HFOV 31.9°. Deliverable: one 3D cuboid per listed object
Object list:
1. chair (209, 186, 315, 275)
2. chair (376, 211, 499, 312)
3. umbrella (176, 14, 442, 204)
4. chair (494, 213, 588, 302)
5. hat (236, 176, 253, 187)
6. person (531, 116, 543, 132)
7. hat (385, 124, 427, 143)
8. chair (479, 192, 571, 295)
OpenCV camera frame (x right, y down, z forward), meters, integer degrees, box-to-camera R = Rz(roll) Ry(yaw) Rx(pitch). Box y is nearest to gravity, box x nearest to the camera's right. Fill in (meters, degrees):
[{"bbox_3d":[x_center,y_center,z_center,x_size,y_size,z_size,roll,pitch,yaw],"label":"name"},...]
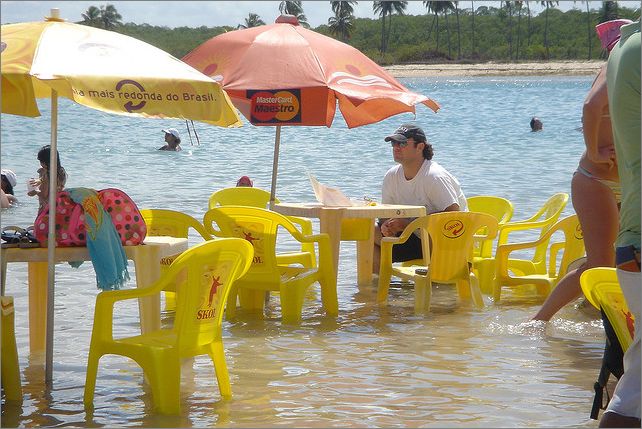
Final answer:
[{"bbox_3d":[-0.366,0.163,12.518,1.079,1.230,1.041,-2,2,-45],"label":"chair"},{"bbox_3d":[1.129,0.494,10.871,1.308,0.885,1.233,2,3,-5],"label":"chair"},{"bbox_3d":[-0.044,-1.004,11.576,2.465,1.419,2.204,6,-9,-30],"label":"umbrella"},{"bbox_3d":[2.233,0.498,11.769,0.976,1.004,0.824,-4,13,4],"label":"chair"},{"bbox_3d":[-0.939,-0.417,13.815,0.156,0.173,0.185,3,-25,-2],"label":"hat"},{"bbox_3d":[6.977,-2.720,35.989,0.283,0.308,0.850,-1,-23,7],"label":"person"},{"bbox_3d":[0.942,-0.874,12.088,0.370,0.147,0.230,3,-3,-11],"label":"hat"},{"bbox_3d":[2.265,0.311,12.560,1.291,1.373,1.137,1,1,2],"label":"chair"}]
